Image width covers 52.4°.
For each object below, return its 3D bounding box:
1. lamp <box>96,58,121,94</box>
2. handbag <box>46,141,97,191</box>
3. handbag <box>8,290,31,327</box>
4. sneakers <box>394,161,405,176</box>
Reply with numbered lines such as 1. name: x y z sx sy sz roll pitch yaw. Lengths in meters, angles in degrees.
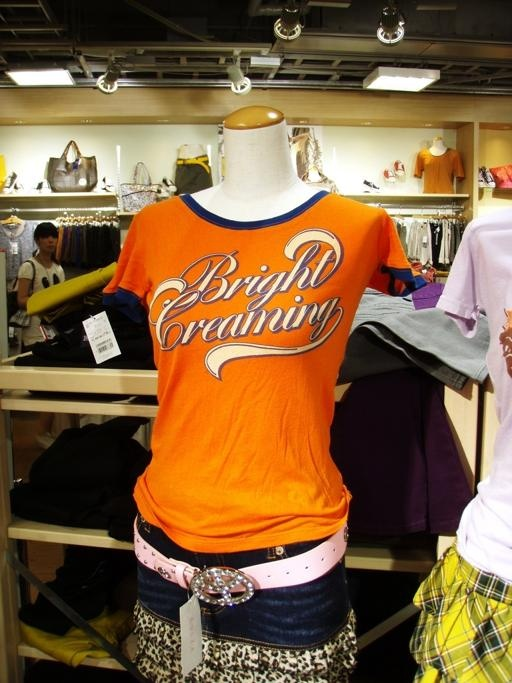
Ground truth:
1. lamp: -0.997 -1.793 3.474 0.131 0.216 0.362 -5 8 -17
2. handbag: -1.658 -1.557 4.623 0.512 0.554 0.167 -1 -13 -4
3. handbag: -1.761 -0.243 3.834 0.192 0.128 0.300 2 27 -14
4. sneakers: 1.419 -1.689 5.066 0.092 0.146 0.045 -15 -3 -5
